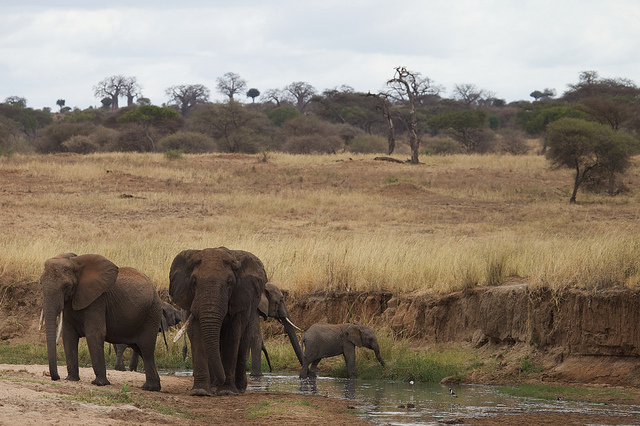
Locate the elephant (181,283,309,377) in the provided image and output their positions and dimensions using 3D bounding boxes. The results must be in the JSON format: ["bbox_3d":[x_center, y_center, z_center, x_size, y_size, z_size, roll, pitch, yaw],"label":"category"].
[{"bbox_3d":[-2.056,3.314,29.745,3.590,2.583,1.653,1,-16,-18],"label":"elephant"}]

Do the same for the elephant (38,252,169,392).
[{"bbox_3d":[-5.409,2.786,27.594,3.968,3.383,2.189,8,-13,-23],"label":"elephant"}]

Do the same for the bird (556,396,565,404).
[{"bbox_3d":[5.976,4.632,26.341,0.077,0.113,0.213,3,2,41],"label":"bird"}]

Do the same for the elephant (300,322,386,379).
[{"bbox_3d":[0.652,3.851,29.218,2.492,1.504,1.122,1,-3,-10],"label":"elephant"}]
